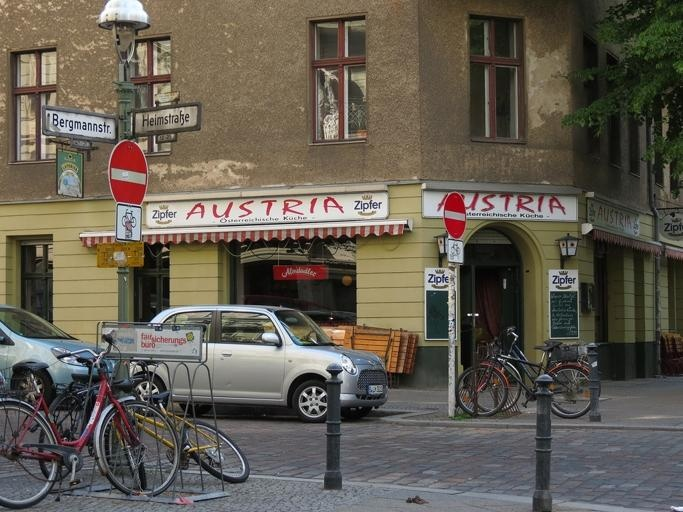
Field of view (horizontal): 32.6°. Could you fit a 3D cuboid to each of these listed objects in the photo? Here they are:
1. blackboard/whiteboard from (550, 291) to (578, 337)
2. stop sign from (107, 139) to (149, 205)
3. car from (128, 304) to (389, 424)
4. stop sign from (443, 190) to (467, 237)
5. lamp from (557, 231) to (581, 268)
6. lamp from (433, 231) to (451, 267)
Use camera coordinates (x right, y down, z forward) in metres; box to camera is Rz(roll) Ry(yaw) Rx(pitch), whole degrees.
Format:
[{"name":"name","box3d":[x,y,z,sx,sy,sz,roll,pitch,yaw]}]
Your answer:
[{"name":"blackboard/whiteboard","box3d":[5.173,1.327,27.371,1.026,1.436,0.055,1,-3,-27]},{"name":"stop sign","box3d":[-2.949,-1.158,16.035,0.242,0.918,0.665,-3,-3,39]},{"name":"car","box3d":[-1.473,1.882,21.008,4.264,1.964,2.140,-1,-4,12]},{"name":"stop sign","box3d":[2.017,-0.733,20.892,0.234,0.851,0.773,-2,-3,32]},{"name":"lamp","box3d":[5.255,-0.146,27.244,0.575,1.147,0.546,-5,4,12]},{"name":"lamp","box3d":[2.231,-0.141,26.329,0.245,0.703,0.310,-1,-2,-4]}]
